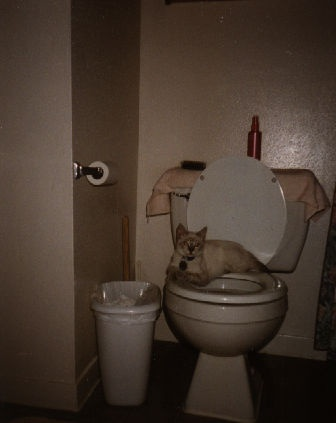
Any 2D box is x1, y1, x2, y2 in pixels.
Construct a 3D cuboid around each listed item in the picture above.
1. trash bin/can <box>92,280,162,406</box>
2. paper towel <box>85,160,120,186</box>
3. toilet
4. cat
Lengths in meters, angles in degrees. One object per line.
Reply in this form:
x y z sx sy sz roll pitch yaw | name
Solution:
-0.146 0.467 1.420 0.246 0.385 0.256 0 5 -14 | trash bin/can
-0.215 -0.109 1.373 0.065 0.098 0.095 -6 -1 21 | paper towel
0.261 0.240 1.415 0.553 0.863 0.506 1 5 -2 | toilet
0.178 0.141 1.540 0.349 0.257 0.200 -8 10 -16 | cat
